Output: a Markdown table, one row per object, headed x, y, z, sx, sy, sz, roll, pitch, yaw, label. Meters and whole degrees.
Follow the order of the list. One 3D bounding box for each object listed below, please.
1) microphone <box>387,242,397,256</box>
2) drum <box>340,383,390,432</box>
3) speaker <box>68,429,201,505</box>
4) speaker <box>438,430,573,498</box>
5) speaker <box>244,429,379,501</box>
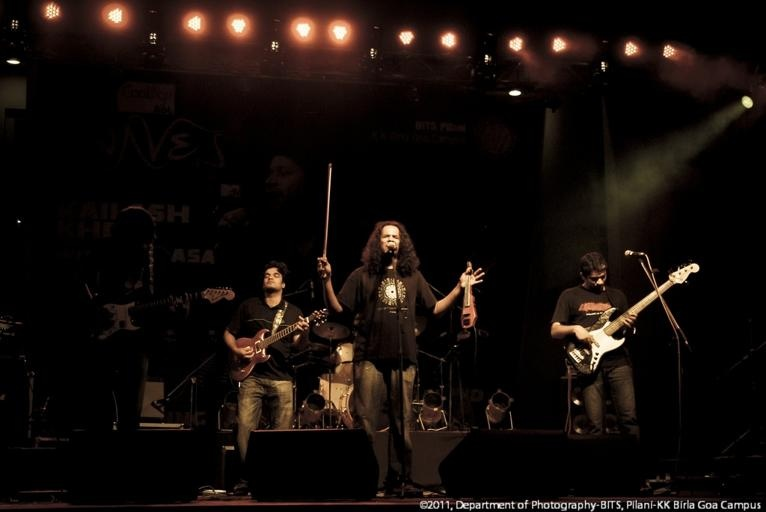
| x | y | z | sx | sy | sz | roll | pitch | yaw | label |
| --- | --- | --- | --- | --- | --- | --- | --- | --- | --- |
| 0.097 | -0.079 | 7.862 | 0.087 | 0.056 | 0.104 | 9 | -32 | -3 | microphone |
| -0.266 | 1.789 | 9.626 | 0.626 | 0.247 | 0.754 | 6 | -49 | 0 | drum |
| -2.116 | 1.981 | 7.874 | 1.449 | 0.641 | 1.078 | -4 | -9 | 10 | speaker |
| 1.118 | 1.925 | 7.547 | 1.177 | 0.591 | 0.368 | -1 | -17 | 10 | speaker |
| -0.477 | 1.868 | 7.852 | 1.360 | 0.620 | 1.023 | -7 | 1 | 23 | speaker |
